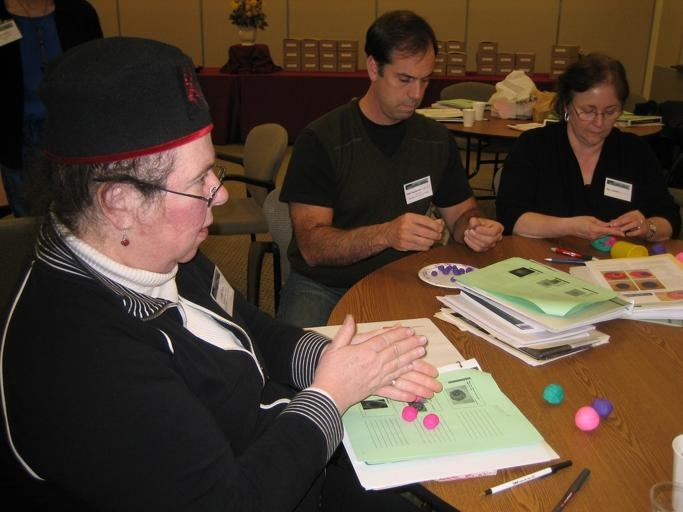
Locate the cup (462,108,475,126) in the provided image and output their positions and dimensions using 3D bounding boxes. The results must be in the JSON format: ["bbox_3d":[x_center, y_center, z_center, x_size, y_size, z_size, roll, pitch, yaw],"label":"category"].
[{"bbox_3d":[0.975,-1.102,4.193,0.120,0.141,0.124,-1,20,0],"label":"cup"}]

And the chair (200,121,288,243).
[{"bbox_3d":[-0.692,-0.377,3.448,0.586,0.928,0.550,-8,25,-30],"label":"chair"}]

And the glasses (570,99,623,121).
[{"bbox_3d":[1.078,-0.619,2.268,0.201,0.074,0.084,12,27,22],"label":"glasses"}]

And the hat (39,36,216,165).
[{"bbox_3d":[-0.414,-0.283,1.041,0.261,0.160,0.263,-11,17,-3],"label":"hat"}]
